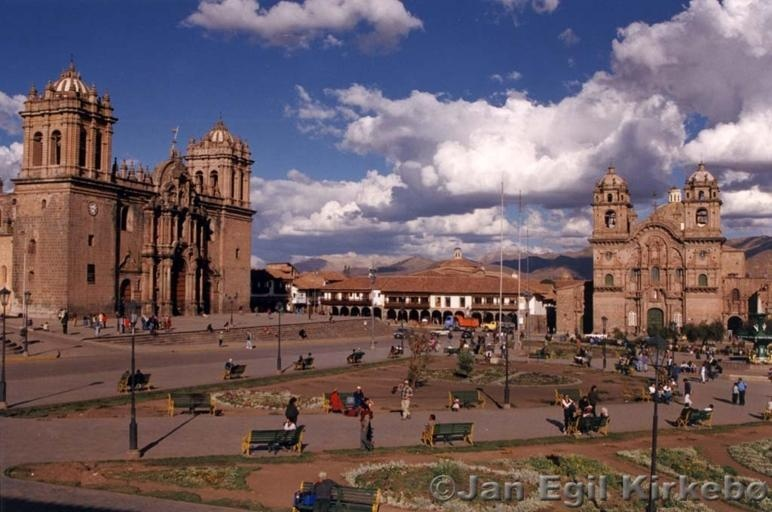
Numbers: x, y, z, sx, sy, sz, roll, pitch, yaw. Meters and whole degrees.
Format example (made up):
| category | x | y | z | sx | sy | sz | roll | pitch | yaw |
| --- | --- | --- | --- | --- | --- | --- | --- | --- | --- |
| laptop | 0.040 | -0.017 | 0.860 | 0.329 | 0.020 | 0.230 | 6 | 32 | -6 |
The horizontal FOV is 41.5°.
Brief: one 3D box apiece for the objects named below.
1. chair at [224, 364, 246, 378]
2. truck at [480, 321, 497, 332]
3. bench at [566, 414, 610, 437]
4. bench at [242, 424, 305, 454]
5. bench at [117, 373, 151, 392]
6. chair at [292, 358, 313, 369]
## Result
| category | x | y | z | sx | sy | sz | roll | pitch | yaw |
| --- | --- | --- | --- | --- | --- | --- | --- | --- | --- |
| chair | -13.262 | 10.161 | 89.973 | 0.520 | 0.923 | 1.358 | 9 | 4 | 41 |
| truck | 14.470 | 9.409 | 138.572 | 2.839 | 1.323 | 1.618 | 3 | -9 | -1 |
| bench | 15.854 | 13.164 | 79.048 | 2.480 | 0.904 | 1.672 | -1 | -1 | -6 |
| bench | -8.097 | 13.512 | 76.172 | 2.767 | 0.742 | 2.661 | 1 | 11 | 1 |
| bench | -20.850 | 10.526 | 84.786 | 2.557 | 1.220 | 0.959 | 5 | -5 | -44 |
| chair | -7.667 | 10.034 | 94.735 | 1.430 | 0.575 | 1.195 | -2 | -3 | 29 |
